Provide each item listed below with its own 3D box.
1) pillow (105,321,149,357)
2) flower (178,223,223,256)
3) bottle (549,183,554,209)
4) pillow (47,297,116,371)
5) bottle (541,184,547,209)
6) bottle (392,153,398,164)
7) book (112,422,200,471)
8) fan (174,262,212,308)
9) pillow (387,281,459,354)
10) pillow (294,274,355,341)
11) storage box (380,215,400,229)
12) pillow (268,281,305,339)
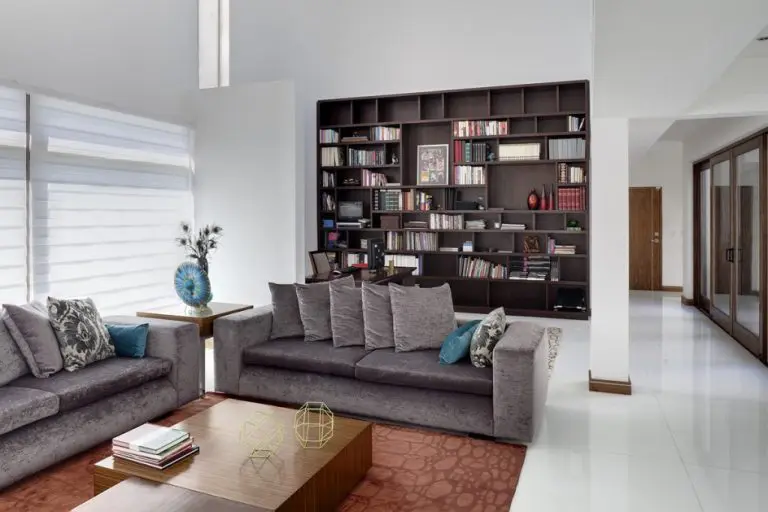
[{"bbox_3d":[-2.534,0.828,5.000,0.321,0.199,0.111,2,-10,22],"label":"pillow"},{"bbox_3d":[-2.781,-0.251,7.683,0.594,0.384,0.578,0,2,-6],"label":"flower"},{"bbox_3d":[2.789,-0.981,8.402,0.091,0.406,0.205,-2,4,18],"label":"bottle"},{"bbox_3d":[-2.873,0.756,4.788,0.329,0.551,0.630,-2,3,17],"label":"pillow"},{"bbox_3d":[2.665,-0.990,8.424,0.128,0.421,0.237,-2,4,18],"label":"bottle"},{"bbox_3d":[0.205,-1.744,9.037,0.121,0.161,0.082,-1,-10,12],"label":"bottle"},{"bbox_3d":[-1.707,1.390,3.732,0.359,0.081,0.344,6,4,17],"label":"book"},{"bbox_3d":[-2.157,0.322,5.720,0.347,0.512,0.199,-5,4,-27],"label":"fan"},{"bbox_3d":[0.383,0.644,5.151,0.608,0.495,0.271,-8,11,-12],"label":"pillow"},{"bbox_3d":[-0.723,0.569,5.462,0.666,0.634,0.220,-9,-10,-12],"label":"pillow"},{"bbox_3d":[0.116,-0.614,9.066,0.390,0.240,0.226,1,5,24],"label":"storage box"},{"bbox_3d":[-1.070,0.590,5.518,0.548,0.523,0.162,-4,-2,-5],"label":"pillow"}]
